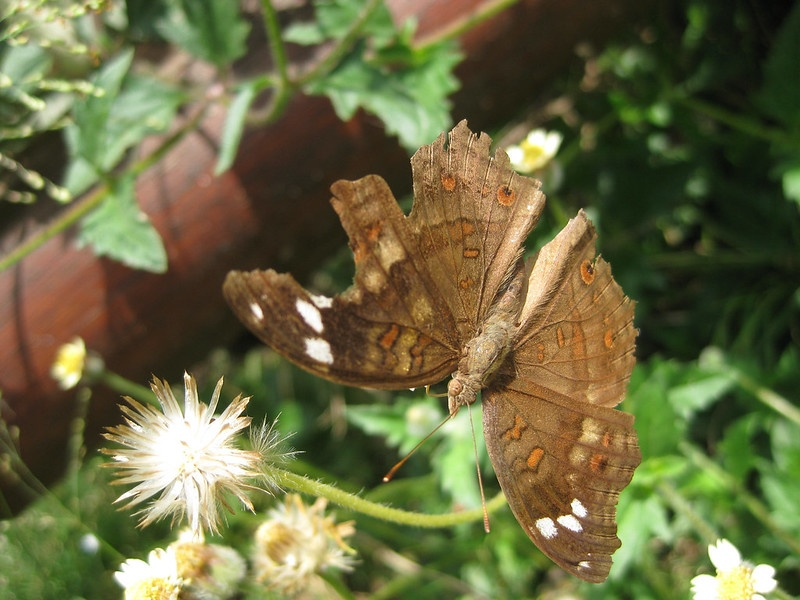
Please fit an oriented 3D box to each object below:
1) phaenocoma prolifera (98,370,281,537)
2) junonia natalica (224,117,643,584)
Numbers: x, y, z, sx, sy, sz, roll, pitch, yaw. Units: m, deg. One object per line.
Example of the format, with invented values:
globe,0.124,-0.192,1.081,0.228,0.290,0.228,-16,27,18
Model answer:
phaenocoma prolifera,-0.512,0.434,2.085,0.411,0.552,0.267,10,28,-7
junonia natalica,0.179,0.055,2.145,1.006,0.856,0.508,18,29,7
